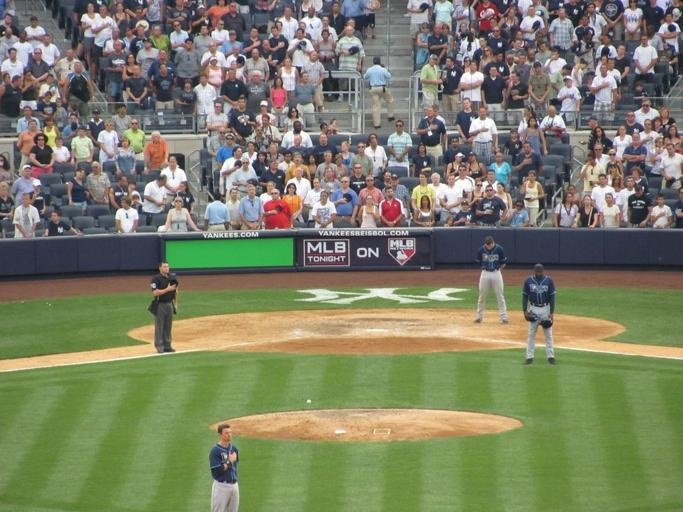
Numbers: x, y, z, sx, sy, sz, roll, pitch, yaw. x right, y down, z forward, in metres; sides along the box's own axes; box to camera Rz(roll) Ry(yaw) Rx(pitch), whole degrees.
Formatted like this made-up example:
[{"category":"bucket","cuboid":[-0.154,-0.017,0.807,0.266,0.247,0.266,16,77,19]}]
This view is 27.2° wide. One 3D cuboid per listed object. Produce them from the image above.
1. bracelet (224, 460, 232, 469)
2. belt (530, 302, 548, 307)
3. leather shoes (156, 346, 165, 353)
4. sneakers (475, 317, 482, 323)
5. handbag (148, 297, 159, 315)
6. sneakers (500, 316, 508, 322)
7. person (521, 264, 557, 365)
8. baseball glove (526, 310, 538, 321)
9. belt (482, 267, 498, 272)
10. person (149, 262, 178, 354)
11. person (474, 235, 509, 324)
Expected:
[{"category":"bracelet","cuboid":[-2.174,4.054,27.213,0.167,0.157,0.027,-15,19,-38]},{"category":"belt","cuboid":[4.722,1.197,33.398,0.420,0.103,0.093,-1,15,5]},{"category":"leather shoes","cuboid":[-4.421,2.325,34.712,0.144,0.164,0.156,-2,8,-20]},{"category":"sneakers","cuboid":[3.604,1.697,36.933,0.147,0.191,0.416,1,-1,8]},{"category":"handbag","cuboid":[-4.571,1.251,34.555,0.213,0.560,0.524,-4,15,-7]},{"category":"sneakers","cuboid":[4.299,1.684,37.024,0.148,0.155,0.153,0,0,-4]},{"category":"person","cuboid":[4.746,1.352,33.777,0.737,2.469,1.536,0,15,8]},{"category":"baseball glove","cuboid":[4.497,1.470,33.289,0.218,0.259,0.330,2,16,18]},{"category":"belt","cuboid":[3.881,0.367,36.701,0.380,0.095,0.117,-1,16,7]},{"category":"person","cuboid":[-4.331,1.237,34.574,0.695,2.368,0.729,-5,15,-8]},{"category":"person","cuboid":[3.937,0.604,37.031,0.835,2.430,0.989,-1,15,7]}]
